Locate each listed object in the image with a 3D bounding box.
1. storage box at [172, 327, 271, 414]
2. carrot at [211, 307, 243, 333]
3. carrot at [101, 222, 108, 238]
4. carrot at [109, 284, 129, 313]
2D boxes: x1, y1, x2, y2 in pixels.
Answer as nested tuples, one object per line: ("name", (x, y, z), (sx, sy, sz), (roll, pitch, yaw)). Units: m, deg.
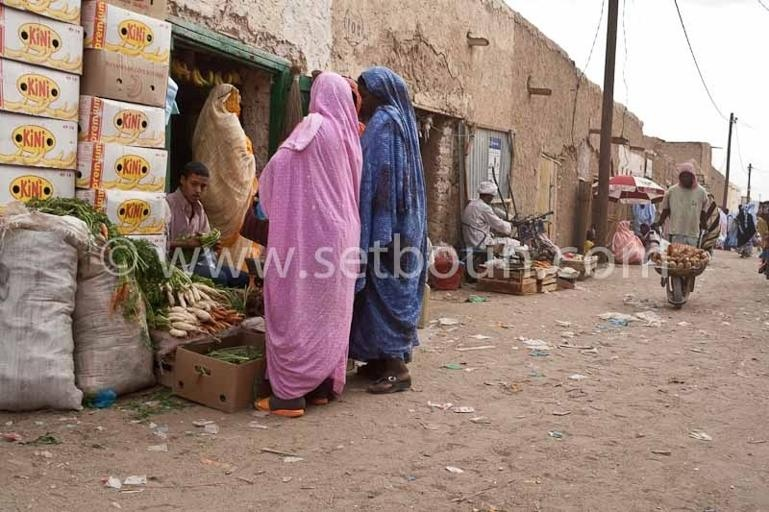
("storage box", (-1.288, 0.945, 5.505), (0.723, 0.577, 0.724), (3, 2, 32))
("carrot", (-1.426, 0.566, 5.842), (0.070, 0.186, 0.218), (-6, 0, 40))
("carrot", (-2.265, -0.200, 5.212), (0.045, 0.146, 0.054), (-18, -36, 4))
("carrot", (-2.122, 0.333, 5.191), (0.076, 0.233, 0.086), (33, -24, -29))
